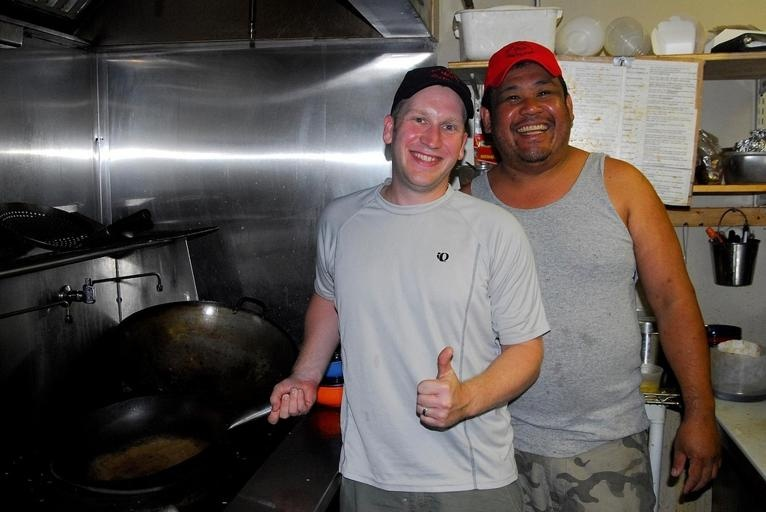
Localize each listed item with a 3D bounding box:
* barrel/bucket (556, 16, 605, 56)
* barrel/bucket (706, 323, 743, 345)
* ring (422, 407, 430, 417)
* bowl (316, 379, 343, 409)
[{"bbox_3d":[0.836,-0.931,2.331,0.146,0.168,0.185,-16,23,-39],"label":"barrel/bucket"},{"bbox_3d":[1.548,0.358,2.503,0.133,0.078,0.133,0,-5,0],"label":"barrel/bucket"},{"bbox_3d":[0.109,0.402,1.415,0.015,0.022,0.022,0,-3,8],"label":"ring"},{"bbox_3d":[-0.200,0.520,2.111,0.129,0.088,0.128,2,-27,1],"label":"bowl"}]
